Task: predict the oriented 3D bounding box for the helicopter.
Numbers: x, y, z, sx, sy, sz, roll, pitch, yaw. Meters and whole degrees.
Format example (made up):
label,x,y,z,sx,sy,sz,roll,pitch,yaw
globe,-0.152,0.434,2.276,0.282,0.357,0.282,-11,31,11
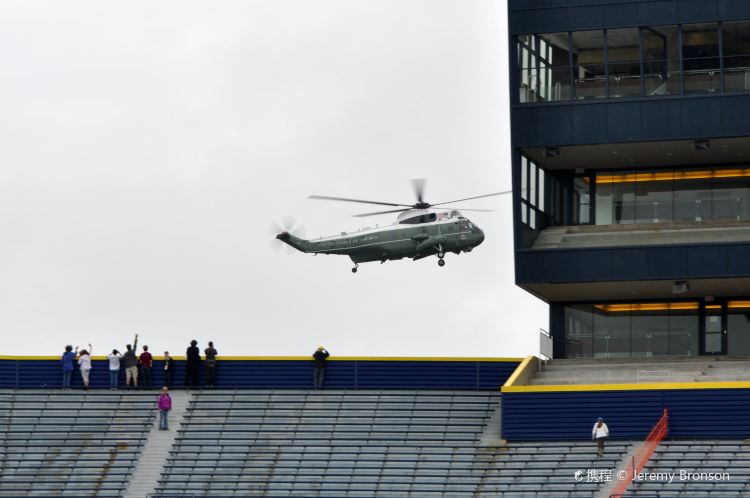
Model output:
label,x,y,z,sx,sy,sz,roll,pitch,yaw
helicopter,1.106,-0.641,92.306,12.786,2.792,8.995,-9,-5,24
